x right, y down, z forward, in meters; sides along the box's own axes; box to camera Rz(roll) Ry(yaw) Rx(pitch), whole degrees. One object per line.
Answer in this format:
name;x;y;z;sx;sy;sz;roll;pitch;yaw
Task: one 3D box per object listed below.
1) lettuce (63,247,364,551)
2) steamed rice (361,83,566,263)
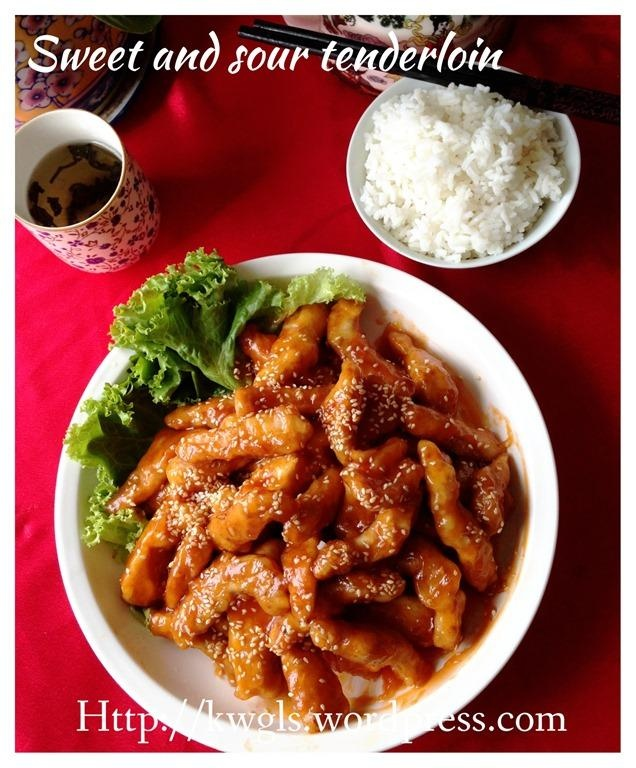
lettuce;-0.317;-0.025;1.979;0.627;0.207;0.796;25;95;1
steamed rice;0.359;-0.495;1.801;0.506;0.158;0.450;-8;92;7
